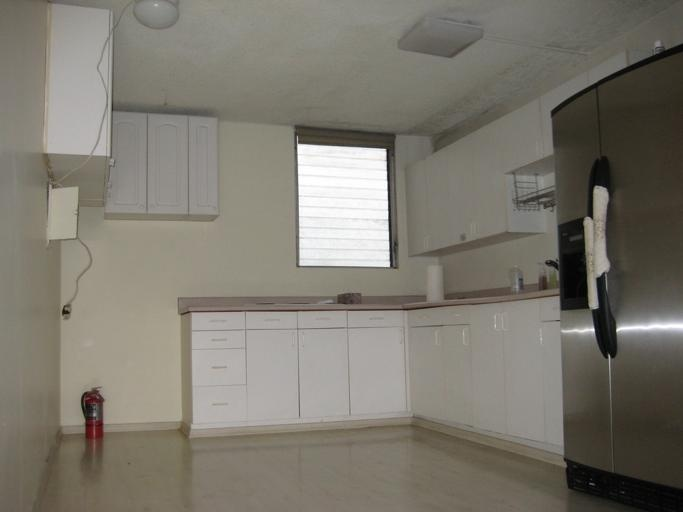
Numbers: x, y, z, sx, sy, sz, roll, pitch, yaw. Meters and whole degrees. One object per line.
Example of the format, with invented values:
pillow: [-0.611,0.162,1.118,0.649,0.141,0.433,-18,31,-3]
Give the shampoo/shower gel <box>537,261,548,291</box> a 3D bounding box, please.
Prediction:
shampoo/shower gel: [1.678,0.166,4.873,0.079,0.231,0.314,-3,-4,19]

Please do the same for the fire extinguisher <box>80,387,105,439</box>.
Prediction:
fire extinguisher: [-2.211,1.384,5.199,0.188,0.412,0.359,1,-5,-24]

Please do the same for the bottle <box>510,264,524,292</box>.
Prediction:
bottle: [1.521,0.209,5.081,0.118,0.217,0.376,-3,-4,18]

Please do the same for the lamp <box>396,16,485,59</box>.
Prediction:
lamp: [0.758,-1.682,4.493,0.589,0.110,0.414,0,-5,-15]

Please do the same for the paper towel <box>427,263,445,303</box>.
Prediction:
paper towel: [0.966,0.285,6.024,0.179,0.370,0.186,-1,-2,-20]
